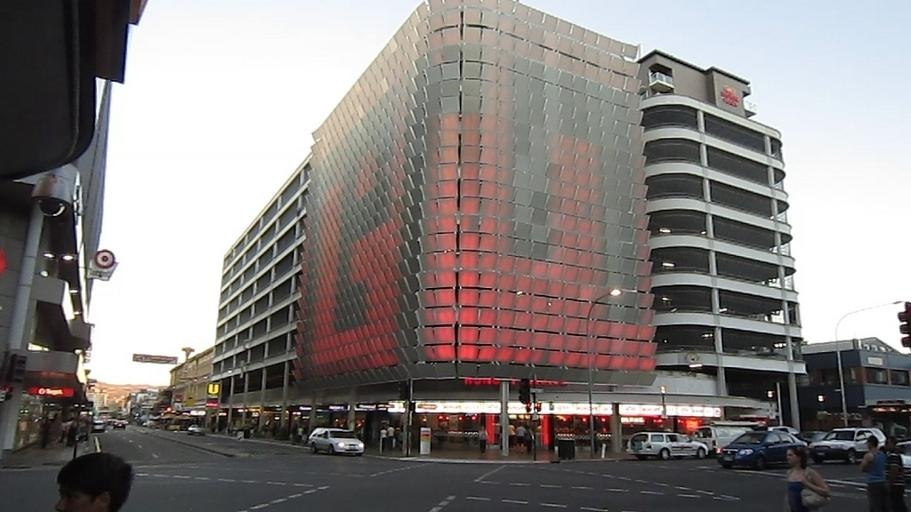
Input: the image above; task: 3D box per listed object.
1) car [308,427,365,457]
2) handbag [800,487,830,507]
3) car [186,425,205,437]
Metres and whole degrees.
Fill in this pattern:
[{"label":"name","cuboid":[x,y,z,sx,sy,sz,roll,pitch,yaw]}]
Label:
[{"label":"car","cuboid":[-9.578,14.856,50.117,1.931,1.834,4.442,15,-23,-40]},{"label":"handbag","cuboid":[12.134,8.228,21.021,0.618,0.336,0.767,4,-2,-23]},{"label":"car","cuboid":[-35.087,23.738,84.546,1.353,1.203,2.878,14,-22,-39]}]
